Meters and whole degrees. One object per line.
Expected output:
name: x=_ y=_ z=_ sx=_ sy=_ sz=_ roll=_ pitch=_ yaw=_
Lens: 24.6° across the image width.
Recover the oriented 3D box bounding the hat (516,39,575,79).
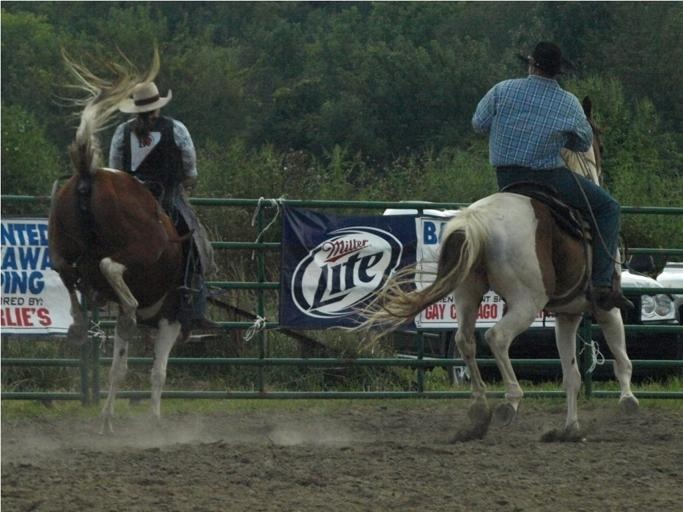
hat: x=3.765 y=-3.632 z=28.841 sx=0.967 sy=0.424 sz=1.110 roll=7 pitch=6 yaw=-2

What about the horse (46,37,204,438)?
horse: x=-3.941 y=-0.051 z=30.182 sx=2.150 sy=5.981 sz=6.500 roll=1 pitch=-24 yaw=11

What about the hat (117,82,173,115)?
hat: x=-3.597 y=-2.789 z=28.660 sx=0.675 sy=0.268 sz=0.651 roll=-5 pitch=26 yaw=26

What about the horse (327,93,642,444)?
horse: x=3.547 y=0.535 z=29.259 sx=7.832 sy=6.118 sz=1.725 roll=4 pitch=-9 yaw=-41
